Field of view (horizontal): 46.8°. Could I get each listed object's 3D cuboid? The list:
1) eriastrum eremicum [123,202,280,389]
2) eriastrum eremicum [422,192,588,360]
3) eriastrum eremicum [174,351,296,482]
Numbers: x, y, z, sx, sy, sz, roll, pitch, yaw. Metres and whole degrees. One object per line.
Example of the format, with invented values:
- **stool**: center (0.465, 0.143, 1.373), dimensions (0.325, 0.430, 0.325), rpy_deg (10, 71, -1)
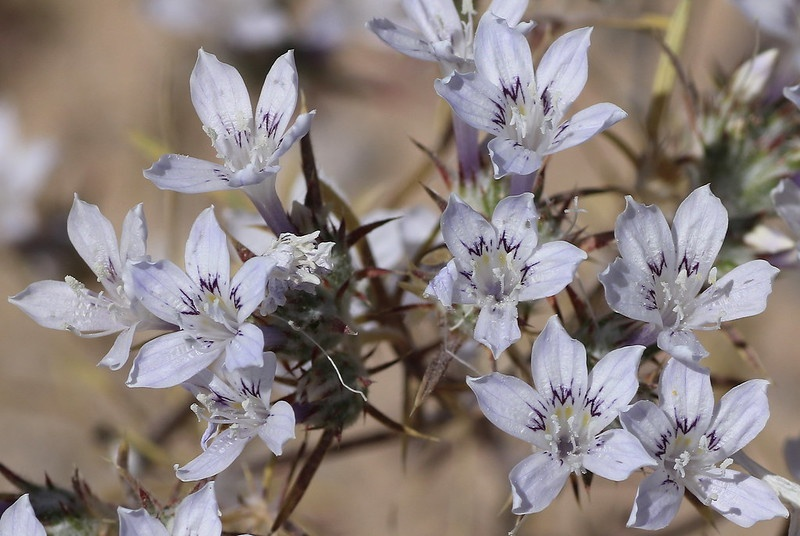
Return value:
- **eriastrum eremicum**: center (-0.905, 0.165, 4.175), dimensions (0.664, 0.313, 0.800), rpy_deg (39, 102, 16)
- **eriastrum eremicum**: center (0.450, -0.017, 4.186), dimensions (0.647, 0.337, 0.769), rpy_deg (34, 86, 2)
- **eriastrum eremicum**: center (-0.725, 0.672, 4.208), dimensions (0.567, 0.245, 0.555), rpy_deg (-13, 80, 16)
